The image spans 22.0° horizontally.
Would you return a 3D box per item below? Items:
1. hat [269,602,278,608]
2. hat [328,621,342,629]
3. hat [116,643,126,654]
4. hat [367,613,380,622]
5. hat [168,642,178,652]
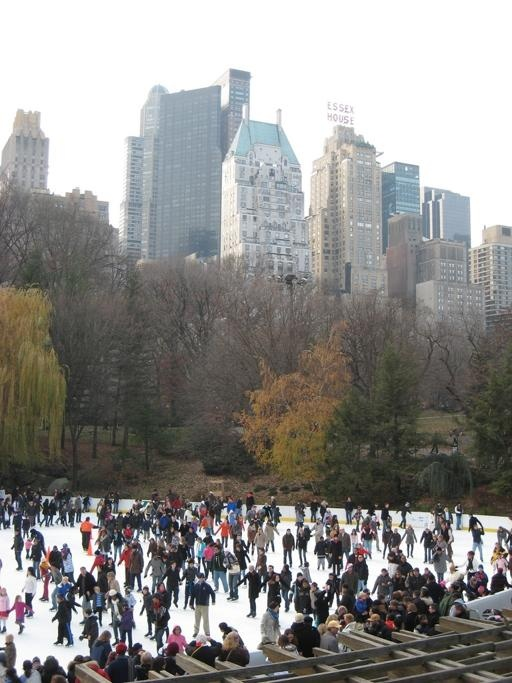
[{"bbox_3d":[0.383,5.971,29.892,0.109,0.162,0.140,4,4,43],"label":"hat"},{"bbox_3d":[1.635,5.977,27.940,0.234,0.134,0.251,13,-5,-10],"label":"hat"},{"bbox_3d":[-2.849,6.441,27.715,0.196,0.220,0.373,0,-9,-7],"label":"hat"},{"bbox_3d":[2.530,5.872,28.092,0.159,0.134,0.247,3,-6,25],"label":"hat"},{"bbox_3d":[-1.734,6.324,27.205,0.206,0.221,0.353,0,-9,-4],"label":"hat"}]
